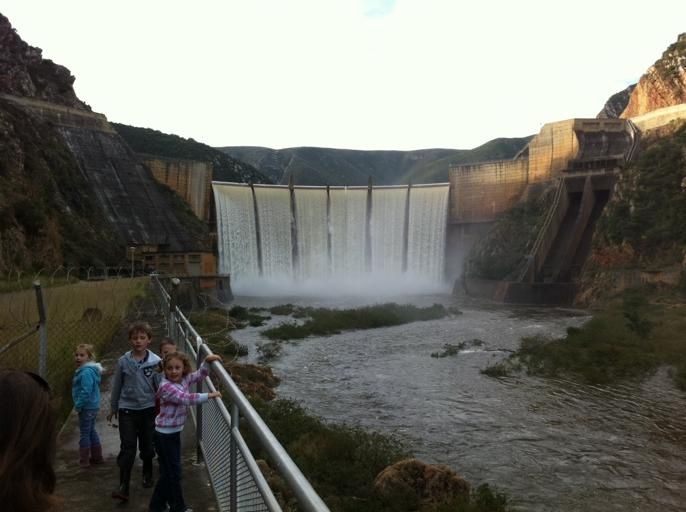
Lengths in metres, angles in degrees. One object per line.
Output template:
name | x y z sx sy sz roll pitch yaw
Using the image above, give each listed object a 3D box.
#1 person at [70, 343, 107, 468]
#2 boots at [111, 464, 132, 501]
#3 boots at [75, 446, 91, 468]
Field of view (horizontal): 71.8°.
person | -3.655 2.150 6.811 0.362 1.769 0.469 -4 4 -29
boots | -2.776 2.840 5.961 0.189 0.420 0.257 -2 3 2
boots | -3.703 2.886 6.780 0.148 0.269 0.276 0 3 -19
